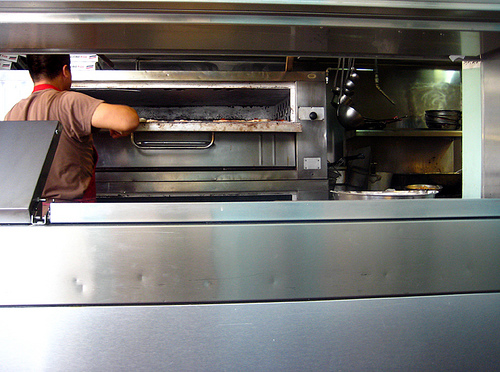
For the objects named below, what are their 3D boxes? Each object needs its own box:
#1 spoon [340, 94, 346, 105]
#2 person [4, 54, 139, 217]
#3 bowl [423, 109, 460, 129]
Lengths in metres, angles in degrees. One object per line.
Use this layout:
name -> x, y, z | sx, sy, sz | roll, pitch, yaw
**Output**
spoon -> 0.633, -0.588, 3.111 | 0.042, 0.052, 0.047 | 5, 8, 30
person -> -0.747, -0.242, 1.956 | 0.519, 0.690, 0.876 | -2, 7, -28
bowl -> 1.855, -0.641, 4.408 | 0.311, 0.167, 0.339 | 1, 6, 0
